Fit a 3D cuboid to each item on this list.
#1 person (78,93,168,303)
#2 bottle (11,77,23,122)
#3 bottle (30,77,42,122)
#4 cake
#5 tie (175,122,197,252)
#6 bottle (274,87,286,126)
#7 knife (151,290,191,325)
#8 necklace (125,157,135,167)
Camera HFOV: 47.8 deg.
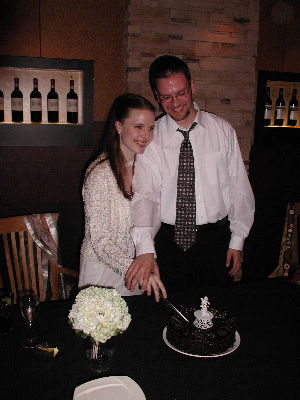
[{"bbox_3d":[-0.142,0.045,1.720,0.461,1.173,0.747,-2,10,-14],"label":"person"},{"bbox_3d":[-1.066,-0.801,2.706,0.091,0.348,0.108,-4,10,-23],"label":"bottle"},{"bbox_3d":[-0.931,-0.810,2.752,0.098,0.346,0.115,-3,10,-20],"label":"bottle"},{"bbox_3d":[0.187,0.444,1.207,0.169,0.124,0.185,1,5,2],"label":"cake"},{"bbox_3d":[0.226,-0.083,2.106,0.141,0.796,0.126,1,9,5],"label":"tie"},{"bbox_3d":[1.271,-0.914,3.325,0.094,0.354,0.198,4,10,21],"label":"bottle"},{"bbox_3d":[0.080,0.435,1.353,0.137,0.018,0.025,53,7,21],"label":"knife"},{"bbox_3d":[-0.120,-0.221,1.979,0.040,0.061,0.024,-5,39,-14],"label":"necklace"}]
